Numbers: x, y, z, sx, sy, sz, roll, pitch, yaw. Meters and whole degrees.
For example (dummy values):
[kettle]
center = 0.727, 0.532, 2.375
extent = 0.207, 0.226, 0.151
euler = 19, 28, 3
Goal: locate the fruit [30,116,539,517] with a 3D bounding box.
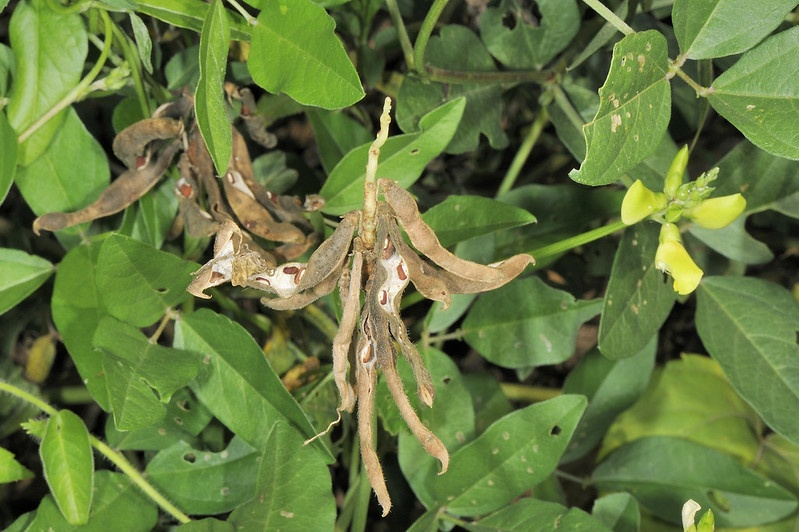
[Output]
[fruit]
center = -0.048, 0.032, 1.443
extent = 0.494, 0.427, 0.444
euler = 35, 67, 27

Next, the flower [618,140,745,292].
[flower]
center = 0.520, -0.105, 1.569
extent = 0.205, 0.138, 0.315
euler = 11, 21, -18
